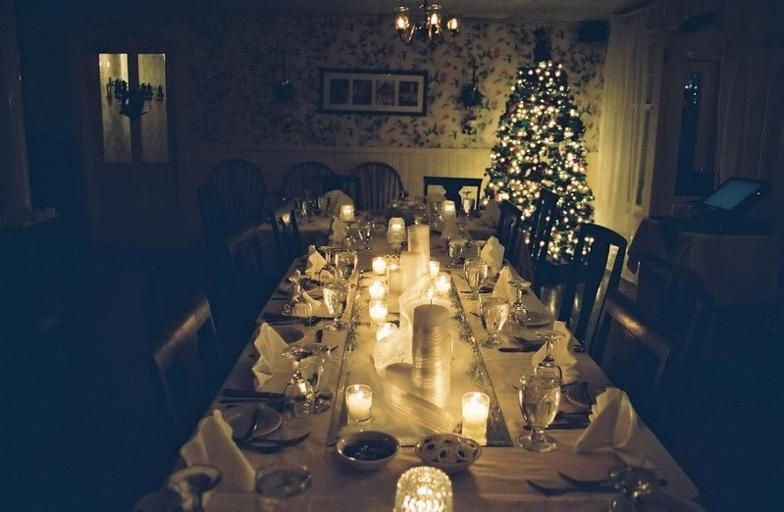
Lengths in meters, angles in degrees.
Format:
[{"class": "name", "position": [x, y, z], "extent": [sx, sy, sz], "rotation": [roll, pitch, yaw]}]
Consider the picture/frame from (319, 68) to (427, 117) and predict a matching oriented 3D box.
[{"class": "picture/frame", "position": [-0.253, -2.167, 7.586], "extent": [1.366, 0.540, 0.183], "rotation": [-1, 13, -9]}]

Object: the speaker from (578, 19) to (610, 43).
[{"class": "speaker", "position": [2.567, -2.888, 7.344], "extent": [0.426, 0.301, 0.234], "rotation": [0, 27, 23]}]

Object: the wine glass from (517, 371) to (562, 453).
[{"class": "wine glass", "position": [0.652, 0.674, 2.548], "extent": [0.175, 0.324, 0.222], "rotation": [4, 13, 15]}]

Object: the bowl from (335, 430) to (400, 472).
[{"class": "bowl", "position": [-0.106, 0.827, 2.430], "extent": [0.267, 0.127, 0.125], "rotation": [0, 12, -1]}]

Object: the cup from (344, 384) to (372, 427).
[{"class": "cup", "position": [-0.159, 0.664, 2.634], "extent": [0.133, 0.160, 0.160], "rotation": [0, 13, -3]}]
